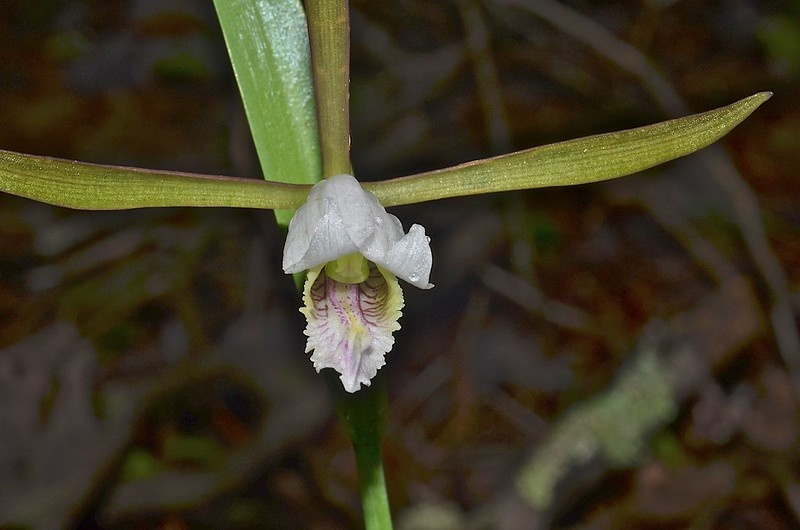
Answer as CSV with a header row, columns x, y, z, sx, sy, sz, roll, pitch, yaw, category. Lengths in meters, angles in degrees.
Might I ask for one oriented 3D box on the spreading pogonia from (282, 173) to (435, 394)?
x,y,z,sx,sy,sz,roll,pitch,yaw,category
-0.097,0.020,1.398,0.316,0.409,0.136,-1,8,5,spreading pogonia
